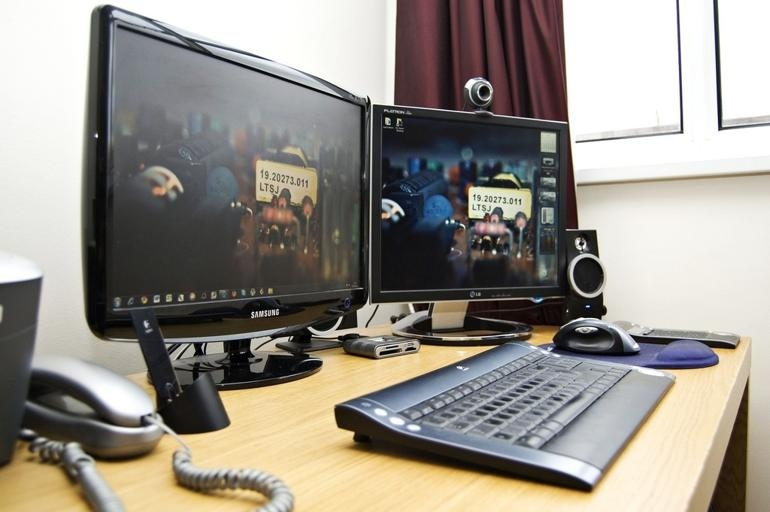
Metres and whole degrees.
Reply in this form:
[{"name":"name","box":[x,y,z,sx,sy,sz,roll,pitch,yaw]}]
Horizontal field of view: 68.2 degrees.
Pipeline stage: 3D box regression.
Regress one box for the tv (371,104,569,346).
[{"name":"tv","box":[0.197,-0.095,1.481,0.613,0.582,0.164,2,-3,-19]}]

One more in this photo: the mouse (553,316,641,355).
[{"name":"mouse","box":[0.476,0.166,1.301,0.192,0.074,0.189,0,1,30]}]

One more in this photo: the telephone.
[{"name":"telephone","box":[-0.465,0.209,0.890,0.226,0.081,0.119,12,9,31]}]
